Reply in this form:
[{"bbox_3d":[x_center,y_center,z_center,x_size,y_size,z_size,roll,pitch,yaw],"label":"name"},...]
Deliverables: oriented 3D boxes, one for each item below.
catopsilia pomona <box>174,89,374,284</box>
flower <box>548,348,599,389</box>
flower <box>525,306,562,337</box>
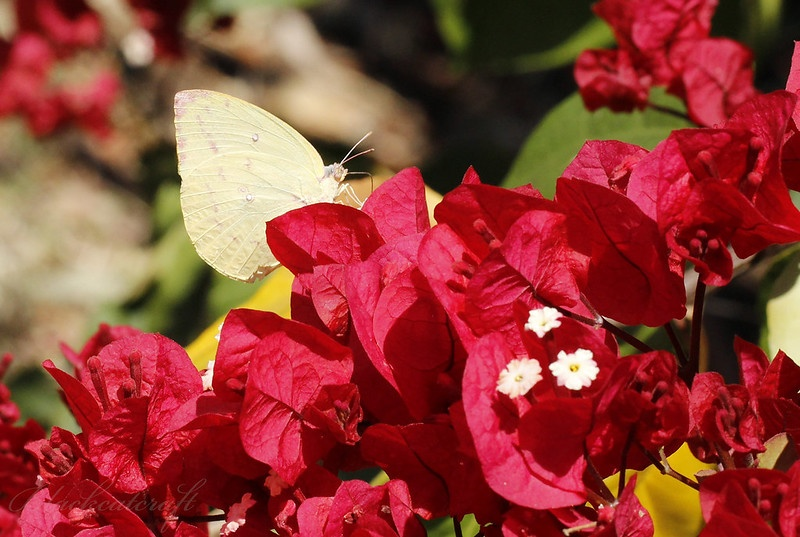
[{"bbox_3d":[-0.175,-0.154,1.414,0.266,0.301,0.235,-13,11,0],"label":"catopsilia pomona"},{"bbox_3d":[0.142,0.084,0.790,0.039,0.026,0.029,-7,45,9],"label":"flower"},{"bbox_3d":[0.118,0.044,0.795,0.025,0.019,0.025,14,52,27],"label":"flower"}]
